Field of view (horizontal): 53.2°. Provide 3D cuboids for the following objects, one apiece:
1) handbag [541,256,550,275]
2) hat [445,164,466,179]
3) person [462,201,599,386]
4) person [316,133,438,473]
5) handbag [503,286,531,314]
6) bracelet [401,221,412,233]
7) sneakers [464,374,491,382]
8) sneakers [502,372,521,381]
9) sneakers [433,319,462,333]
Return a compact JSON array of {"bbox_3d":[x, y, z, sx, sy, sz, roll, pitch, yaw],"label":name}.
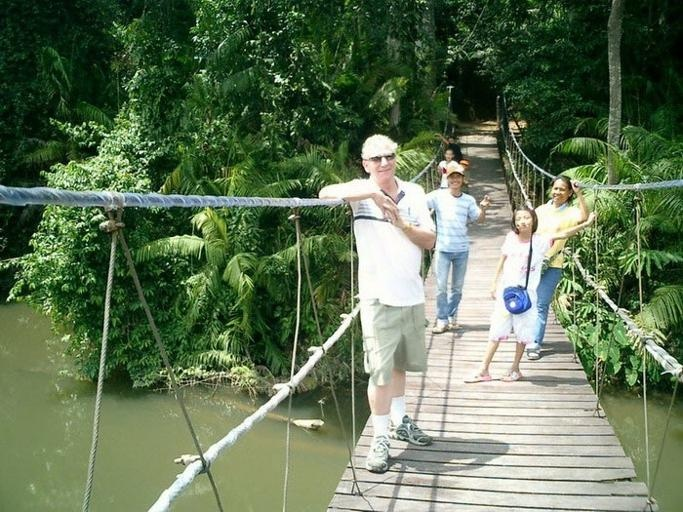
[{"bbox_3d":[2.215,0.078,7.418,0.097,0.142,0.140,-1,-6,1],"label":"handbag"},{"bbox_3d":[1.378,-1.045,8.244,0.177,0.188,0.354,-3,13,20],"label":"hat"},{"bbox_3d":[1.873,0.407,7.210,1.287,1.801,0.563,-13,13,-27],"label":"person"},{"bbox_3d":[0.426,0.424,6.002,0.858,2.903,0.436,-11,12,-22],"label":"person"},{"bbox_3d":[1.781,0.445,6.936,0.265,0.260,0.116,20,-7,9],"label":"handbag"},{"bbox_3d":[0.558,-0.247,5.823,0.078,0.092,0.035,-5,5,3],"label":"bracelet"},{"bbox_3d":[1.467,1.306,7.263,0.183,0.081,0.117,2,-5,-2],"label":"sneakers"},{"bbox_3d":[1.825,1.271,7.250,0.173,0.080,0.098,1,-4,-5],"label":"sneakers"},{"bbox_3d":[1.323,0.884,8.607,0.388,0.188,0.143,5,-2,-29],"label":"sneakers"}]
